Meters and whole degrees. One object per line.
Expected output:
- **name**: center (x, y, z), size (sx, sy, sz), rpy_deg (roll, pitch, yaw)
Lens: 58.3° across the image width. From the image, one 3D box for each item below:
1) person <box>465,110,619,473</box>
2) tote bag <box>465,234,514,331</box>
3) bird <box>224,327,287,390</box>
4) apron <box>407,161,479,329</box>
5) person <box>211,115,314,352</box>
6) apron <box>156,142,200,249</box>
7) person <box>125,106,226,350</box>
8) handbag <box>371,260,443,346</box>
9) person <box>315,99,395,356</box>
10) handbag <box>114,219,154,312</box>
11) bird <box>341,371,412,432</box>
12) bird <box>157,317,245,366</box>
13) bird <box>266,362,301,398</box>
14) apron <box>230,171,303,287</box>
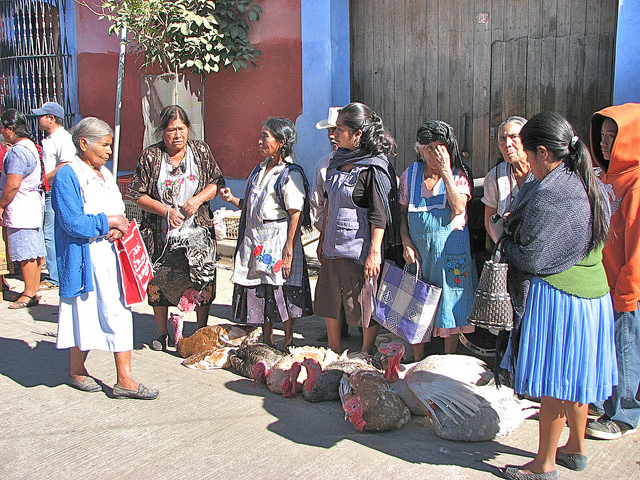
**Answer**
- **person**: center (1.496, 0.378, 3.663), size (0.839, 2.319, 0.539), rpy_deg (5, 14, 29)
- **tote bag**: center (1.114, 0.311, 3.687), size (0.195, 0.454, 0.241), rpy_deg (5, 16, 5)
- **bird**: center (-0.594, 1.093, 5.314), size (0.469, 0.241, 0.740), rpy_deg (-9, 15, -30)
- **apron**: center (1.134, -0.019, 5.147), size (0.560, 1.522, 0.621), rpy_deg (-12, 29, -11)
- **person**: center (-0.475, -0.042, 5.580), size (0.784, 2.219, 0.403), rpy_deg (-2, 12, -1)
- **apron**: center (-1.441, -0.459, 5.812), size (0.311, 1.008, 0.370), rpy_deg (-4, 18, -14)
- **person**: center (-1.439, -0.073, 5.854), size (0.876, 2.506, 0.803), rpy_deg (-4, 21, -19)
- **handbag**: center (0.802, 0.522, 5.114), size (0.535, 0.640, 0.224), rpy_deg (28, 17, 39)
- **person**: center (0.321, -0.046, 5.262), size (0.742, 2.335, 0.486), rpy_deg (-2, 12, -1)
- **handbag**: center (-1.621, 0.171, 5.083), size (0.189, 0.652, 0.654), rpy_deg (-12, -1, -5)
- **bird**: center (0.446, 1.236, 4.495), size (0.525, 0.313, 0.474), rpy_deg (-1, 13, 1)
- **bird**: center (-1.099, 1.000, 5.561), size (0.537, 0.250, 0.438), rpy_deg (-4, 7, 25)
- **bird**: center (-0.319, 1.165, 4.907), size (0.308, 0.282, 0.155), rpy_deg (9, 16, 38)
- **apron**: center (-0.504, -0.120, 5.666), size (0.564, 1.183, 0.608), rpy_deg (1, 17, 1)
